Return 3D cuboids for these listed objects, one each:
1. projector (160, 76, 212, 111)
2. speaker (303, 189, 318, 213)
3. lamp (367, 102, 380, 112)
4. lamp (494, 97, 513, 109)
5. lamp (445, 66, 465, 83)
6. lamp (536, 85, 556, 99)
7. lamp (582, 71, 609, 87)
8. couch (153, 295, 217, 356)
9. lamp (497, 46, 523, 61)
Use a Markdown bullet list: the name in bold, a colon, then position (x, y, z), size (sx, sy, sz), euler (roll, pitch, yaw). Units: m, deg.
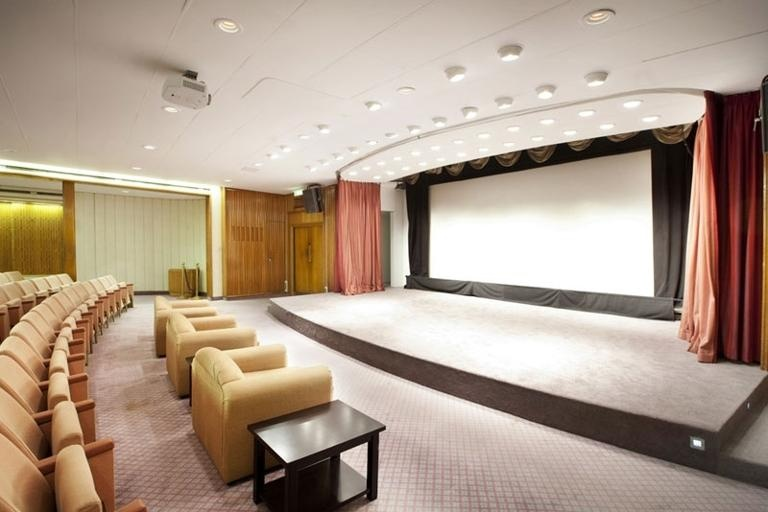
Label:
- **projector**: position (-2.518, -2.080, 5.907), size (0.494, 0.189, 0.363), euler (2, -2, -33)
- **speaker**: position (-1.960, -1.520, 12.487), size (0.188, 0.591, 0.573), euler (-5, -8, -30)
- **lamp**: position (-0.139, -2.222, 6.821), size (0.190, 0.083, 0.293), euler (0, 9, -2)
- **lamp**: position (1.751, -2.228, 6.713), size (0.244, 0.106, 0.331), euler (3, 9, 14)
- **lamp**: position (0.939, -2.365, 5.990), size (0.259, 0.123, 0.340), euler (2, 9, 8)
- **lamp**: position (2.243, -2.270, 6.359), size (0.253, 0.135, 0.343), euler (4, 9, 19)
- **lamp**: position (2.791, -2.322, 6.032), size (0.271, 0.130, 0.373), euler (5, 10, 29)
- **couch**: position (-3.151, 1.336, 7.343), size (0.856, 0.869, 1.213), euler (0, 4, -31)
- **lamp**: position (1.540, -2.461, 5.592), size (0.287, 0.130, 0.292), euler (3, 9, 16)
